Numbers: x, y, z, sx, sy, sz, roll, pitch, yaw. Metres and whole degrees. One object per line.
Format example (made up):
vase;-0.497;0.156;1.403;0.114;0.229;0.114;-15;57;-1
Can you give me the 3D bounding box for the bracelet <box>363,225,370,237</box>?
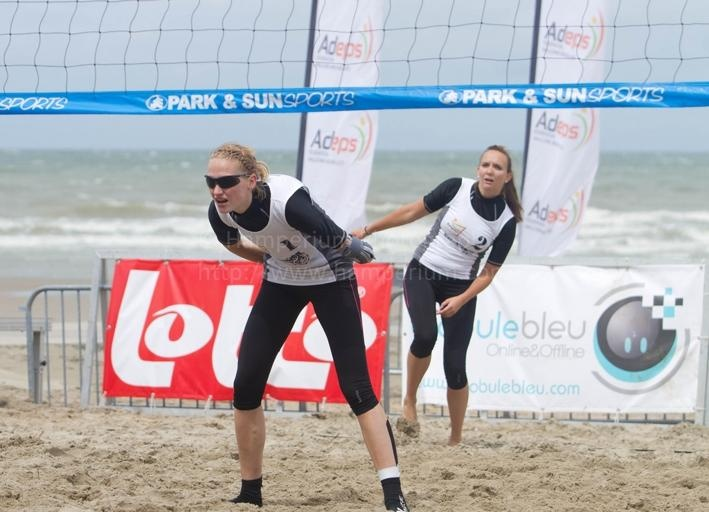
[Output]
bracelet;0.132;-0.257;13.563;0.025;0.093;0.092;1;-35;9
